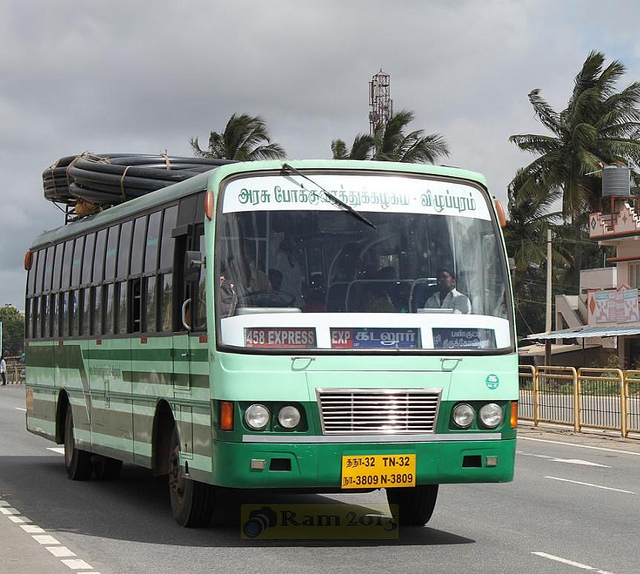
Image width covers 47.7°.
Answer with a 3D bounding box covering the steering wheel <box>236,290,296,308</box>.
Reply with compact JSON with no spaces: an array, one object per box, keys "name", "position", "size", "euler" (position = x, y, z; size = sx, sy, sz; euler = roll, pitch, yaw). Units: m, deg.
[{"name":"steering wheel","position":[-0.424,0.091,5.763],"size":[0.459,0.140,0.064],"euler":[-3,-4,0]}]
